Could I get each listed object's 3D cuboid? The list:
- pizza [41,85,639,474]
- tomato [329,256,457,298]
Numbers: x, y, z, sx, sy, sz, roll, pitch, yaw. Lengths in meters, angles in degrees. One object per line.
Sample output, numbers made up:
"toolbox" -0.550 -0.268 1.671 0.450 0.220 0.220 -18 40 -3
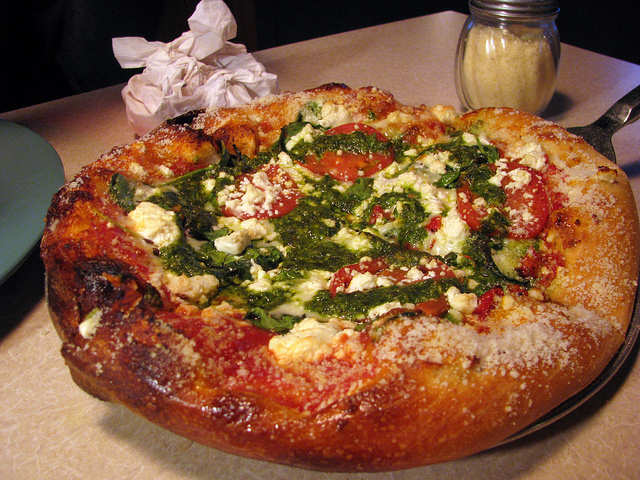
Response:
"pizza" 0.057 0.013 1.629 1.569 0.210 1.136 -4 52 -1
"tomato" 0.175 0.086 1.587 0.246 0.038 0.128 -9 35 -2
